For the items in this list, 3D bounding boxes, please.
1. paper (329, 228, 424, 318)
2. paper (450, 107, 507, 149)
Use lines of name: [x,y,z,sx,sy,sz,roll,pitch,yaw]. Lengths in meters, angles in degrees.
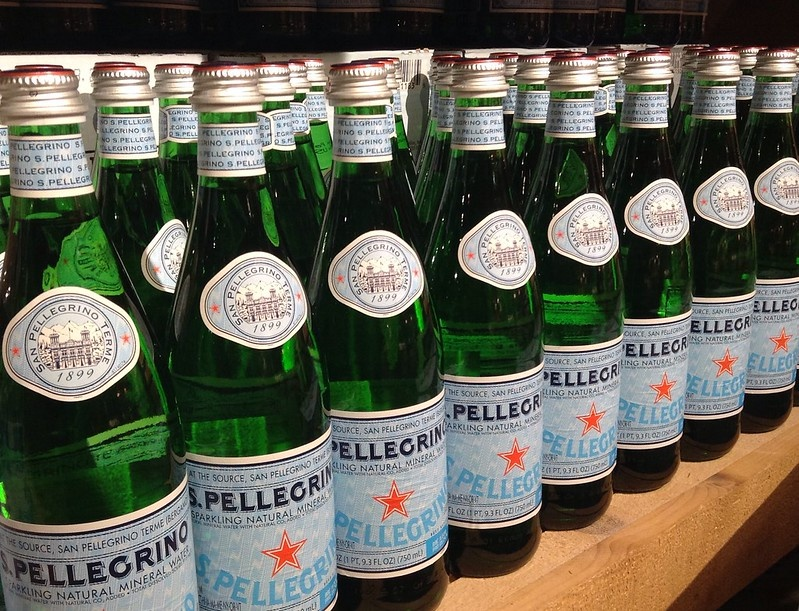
paper: [-0.021,-0.012,0.694,0.065,0.014,0.067,39,24,8]
paper: [0.072,-0.164,0.748,0.040,0.039,0.040,-1,18,0]
